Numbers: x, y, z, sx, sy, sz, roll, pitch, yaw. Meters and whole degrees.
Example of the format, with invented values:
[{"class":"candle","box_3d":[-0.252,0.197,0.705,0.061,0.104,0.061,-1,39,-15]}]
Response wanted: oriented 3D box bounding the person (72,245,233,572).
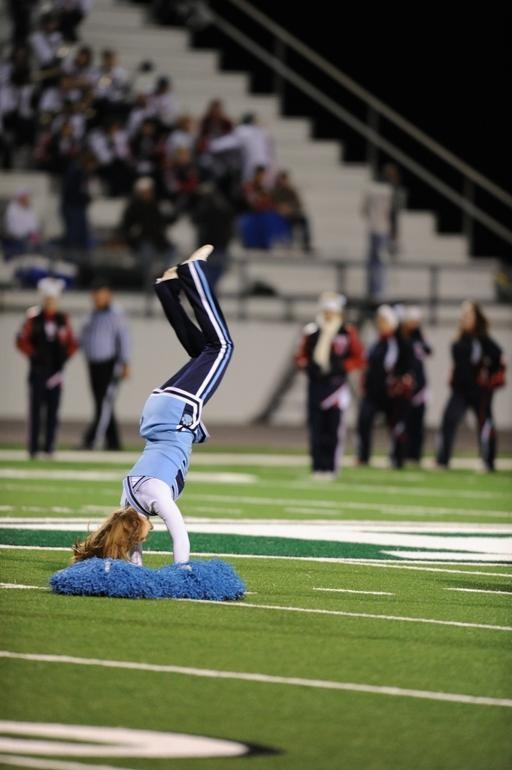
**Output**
[{"class":"person","box_3d":[-0.435,0.094,6.084,0.548,1.538,0.799,5,3,7]}]
